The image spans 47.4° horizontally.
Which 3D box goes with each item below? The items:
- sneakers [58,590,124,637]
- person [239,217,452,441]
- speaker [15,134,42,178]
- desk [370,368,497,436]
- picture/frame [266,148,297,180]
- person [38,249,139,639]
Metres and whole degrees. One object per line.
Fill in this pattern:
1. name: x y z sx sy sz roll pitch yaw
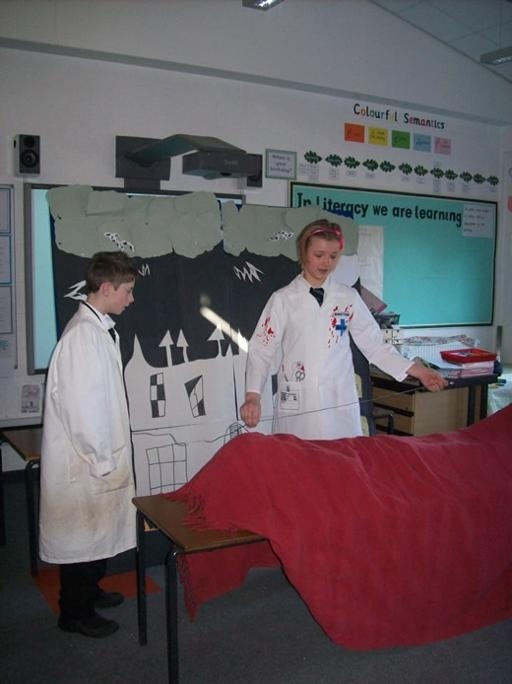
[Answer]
1. sneakers: -0.564 0.937 1.994 0.189 0.141 0.087 -3 -5 7
2. person: 0.300 0.116 2.183 0.695 1.134 0.411 -3 38 1
3. speaker: -1.161 -0.950 2.961 0.126 0.185 0.137 -6 5 -21
4. desk: 0.990 0.163 3.250 0.635 0.627 0.367 -2 3 -30
5. picture/frame: 0.161 -1.198 3.895 0.220 0.166 0.023 -3 4 -35
6. person: -0.525 0.340 1.878 0.376 1.246 0.232 -6 6 -24
